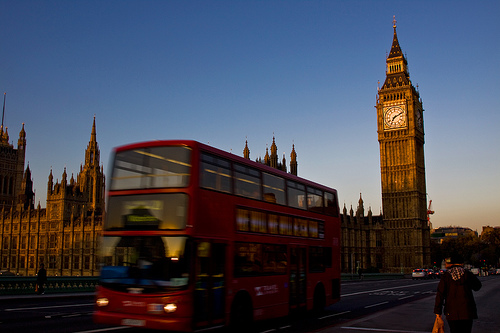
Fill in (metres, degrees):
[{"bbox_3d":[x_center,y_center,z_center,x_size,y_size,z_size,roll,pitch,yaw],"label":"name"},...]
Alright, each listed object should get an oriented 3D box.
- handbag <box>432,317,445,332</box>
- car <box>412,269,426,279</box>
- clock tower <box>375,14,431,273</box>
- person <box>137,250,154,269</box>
[{"bbox_3d":[5.877,4.912,17.561,0.290,0.420,0.345,-3,-11,11],"label":"handbag"},{"bbox_3d":[20.242,12.823,67.201,1.474,0.960,2.162,-5,-11,20],"label":"car"},{"bbox_3d":[31.316,-5.615,117.135,8.777,54.136,9.267,-4,-12,13],"label":"clock tower"},{"bbox_3d":[-3.811,3.360,20.381,0.635,0.713,0.832,-6,-11,24],"label":"person"}]
